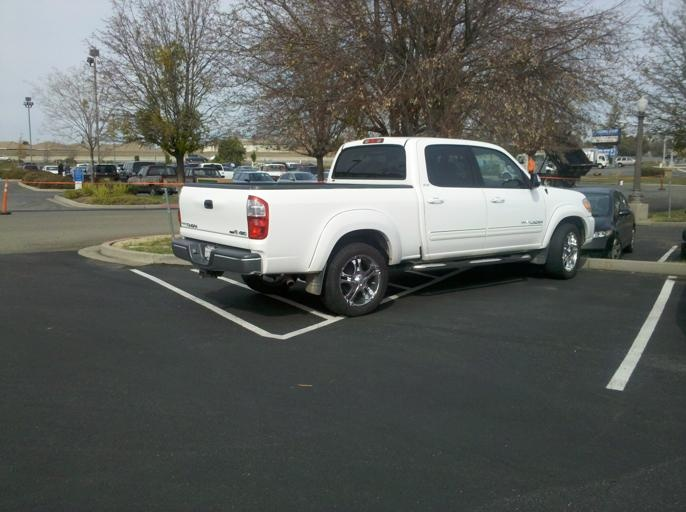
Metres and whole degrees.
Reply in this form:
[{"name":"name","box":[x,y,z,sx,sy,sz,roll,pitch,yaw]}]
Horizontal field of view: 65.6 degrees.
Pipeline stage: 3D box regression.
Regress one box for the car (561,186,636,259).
[{"name":"car","box":[5.989,-0.832,12.369,1.353,1.163,2.545,0,4,38]}]

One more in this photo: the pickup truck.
[{"name":"pickup truck","box":[0.965,-0.393,8.818,6.416,2.361,2.720,-7,10,-34]}]
